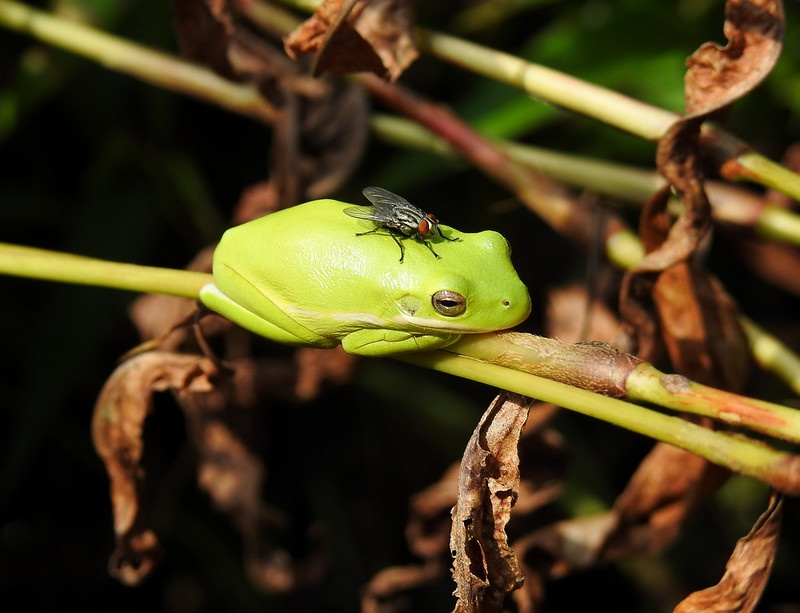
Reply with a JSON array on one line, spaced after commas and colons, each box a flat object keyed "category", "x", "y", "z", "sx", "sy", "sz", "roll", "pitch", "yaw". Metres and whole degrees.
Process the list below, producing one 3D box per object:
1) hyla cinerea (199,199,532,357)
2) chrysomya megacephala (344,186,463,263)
[{"category": "hyla cinerea", "x": -0.072, "y": -0.048, "z": 1.653, "sx": 0.537, "sy": 0.192, "sz": 0.335, "roll": 17, "pitch": 31, "yaw": 5}, {"category": "chrysomya megacephala", "x": -0.006, "y": -0.147, "z": 1.614, "sx": 0.193, "sy": 0.059, "sz": 0.128, "roll": 22, "pitch": 33, "yaw": 13}]
